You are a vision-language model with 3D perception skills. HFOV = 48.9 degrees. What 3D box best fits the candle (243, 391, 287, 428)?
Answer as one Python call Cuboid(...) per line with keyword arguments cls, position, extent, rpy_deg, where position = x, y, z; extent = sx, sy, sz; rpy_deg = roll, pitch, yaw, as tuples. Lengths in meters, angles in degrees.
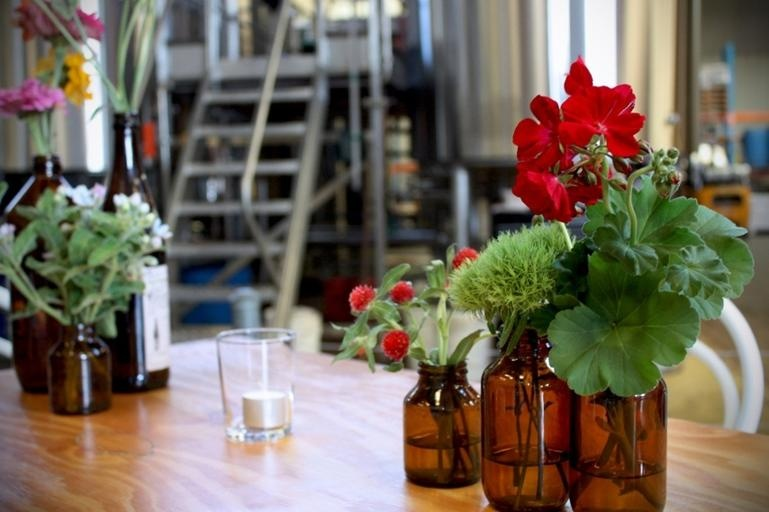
Cuboid(cls="candle", position=(-0.186, 0.240, 1.326), extent=(0.057, 0.037, 0.059), rpy_deg=(0, -5, 7))
